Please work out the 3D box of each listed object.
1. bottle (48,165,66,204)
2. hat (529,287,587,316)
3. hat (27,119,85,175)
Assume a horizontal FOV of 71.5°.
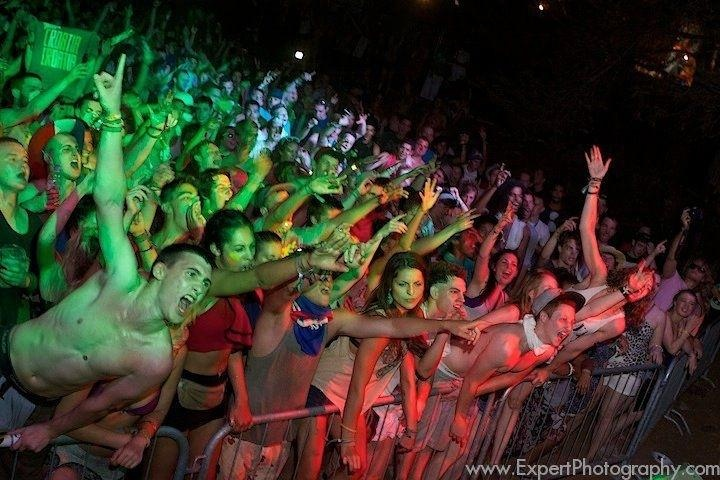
[{"bbox_3d":[-2.691,-0.477,4.421,0.293,0.316,0.108,15,6,40],"label":"bottle"},{"bbox_3d":[2.052,0.663,5.144,0.418,0.180,0.290,27,13,1],"label":"hat"},{"bbox_3d":[-2.945,-0.880,4.847,0.468,0.647,0.500,8,5,-33],"label":"hat"}]
